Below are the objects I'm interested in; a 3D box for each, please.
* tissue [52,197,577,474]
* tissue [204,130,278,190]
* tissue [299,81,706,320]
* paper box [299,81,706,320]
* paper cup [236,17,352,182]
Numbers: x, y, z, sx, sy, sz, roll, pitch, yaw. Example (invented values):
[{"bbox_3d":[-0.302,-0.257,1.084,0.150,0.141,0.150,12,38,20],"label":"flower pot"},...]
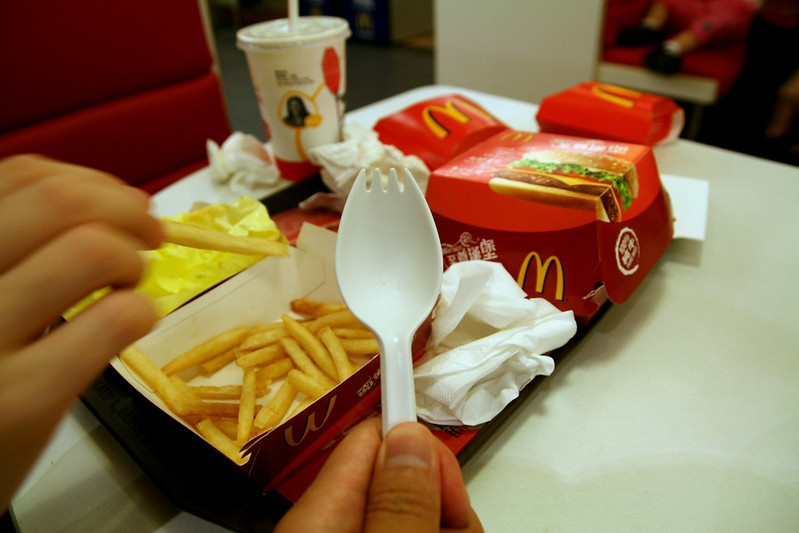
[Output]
[{"bbox_3d":[-0.107,0.150,1.001,0.484,0.131,0.535,21,46,38],"label":"tissue"},{"bbox_3d":[-0.373,-0.236,1.403,0.125,0.079,0.167,-31,46,-19],"label":"tissue"},{"bbox_3d":[0.266,-0.124,1.080,0.362,0.183,0.346,27,50,32],"label":"tissue"},{"bbox_3d":[0.270,-0.168,1.033,0.362,0.183,0.346,27,50,32],"label":"paper box"},{"bbox_3d":[-0.143,-0.412,1.440,0.324,0.381,0.307,-2,34,1],"label":"paper cup"}]
